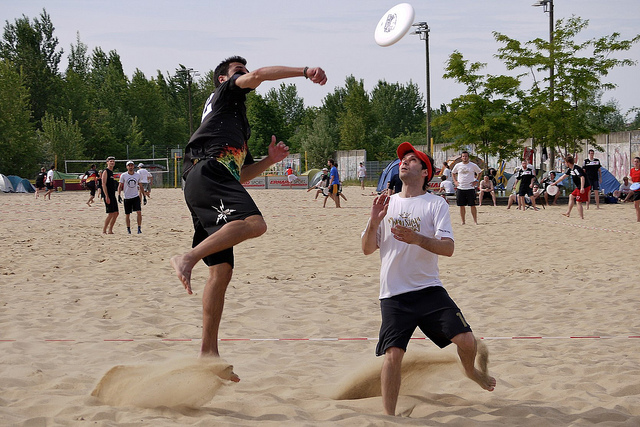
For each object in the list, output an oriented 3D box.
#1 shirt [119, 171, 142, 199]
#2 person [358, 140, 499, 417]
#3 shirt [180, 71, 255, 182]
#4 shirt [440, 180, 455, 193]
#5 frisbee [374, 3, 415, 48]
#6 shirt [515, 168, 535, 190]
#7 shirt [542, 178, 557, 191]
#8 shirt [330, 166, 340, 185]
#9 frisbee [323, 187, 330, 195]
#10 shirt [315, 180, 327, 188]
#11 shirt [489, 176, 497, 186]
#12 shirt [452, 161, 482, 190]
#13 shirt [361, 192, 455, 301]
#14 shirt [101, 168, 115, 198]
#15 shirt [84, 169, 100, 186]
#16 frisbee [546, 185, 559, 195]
[{"bbox_3d":[-4.664,-0.748,16.797,0.432,0.684,0.967,-3,12,-16],"label":"shirt"},{"bbox_3d":[1.010,0.620,7.137,1.031,2.644,1.002,-3,12,-14],"label":"person"},{"bbox_3d":[-1.077,-0.915,7.242,0.737,1.083,0.395,0,12,-3],"label":"shirt"},{"bbox_3d":[4.676,-0.980,24.670,0.692,0.616,0.383,-1,13,10],"label":"shirt"},{"bbox_3d":[0.982,-2.419,8.744,0.410,0.529,0.655,-1,12,-9],"label":"frisbee"},{"bbox_3d":[6.792,-1.137,22.397,0.558,0.745,0.409,0,12,-4],"label":"shirt"},{"bbox_3d":[8.289,-1.031,24.583,0.474,0.726,0.222,2,-6,23],"label":"shirt"},{"bbox_3d":[0.547,-1.379,24.249,0.317,0.564,0.793,1,12,1],"label":"shirt"},{"bbox_3d":[0.241,-0.822,24.174,0.140,0.184,0.172,3,12,8],"label":"frisbee"},{"bbox_3d":[0.122,-1.122,24.822,0.329,0.168,0.497,1,-2,-39],"label":"shirt"},{"bbox_3d":[6.563,-1.240,25.534,0.090,0.337,0.349,-13,19,-7],"label":"shirt"},{"bbox_3d":[3.853,-1.000,17.747,0.842,0.700,0.365,0,6,34],"label":"shirt"},{"bbox_3d":[0.991,0.339,7.168,0.759,1.057,0.584,2,12,5],"label":"shirt"},{"bbox_3d":[-5.086,-0.736,16.421,0.280,0.702,0.669,-3,12,-15],"label":"shirt"},{"bbox_3d":[-9.081,-1.475,27.218,0.453,0.631,1.111,-4,12,-19],"label":"shirt"},{"bbox_3d":[8.380,-0.852,24.530,0.407,0.344,0.295,3,12,11],"label":"frisbee"}]
